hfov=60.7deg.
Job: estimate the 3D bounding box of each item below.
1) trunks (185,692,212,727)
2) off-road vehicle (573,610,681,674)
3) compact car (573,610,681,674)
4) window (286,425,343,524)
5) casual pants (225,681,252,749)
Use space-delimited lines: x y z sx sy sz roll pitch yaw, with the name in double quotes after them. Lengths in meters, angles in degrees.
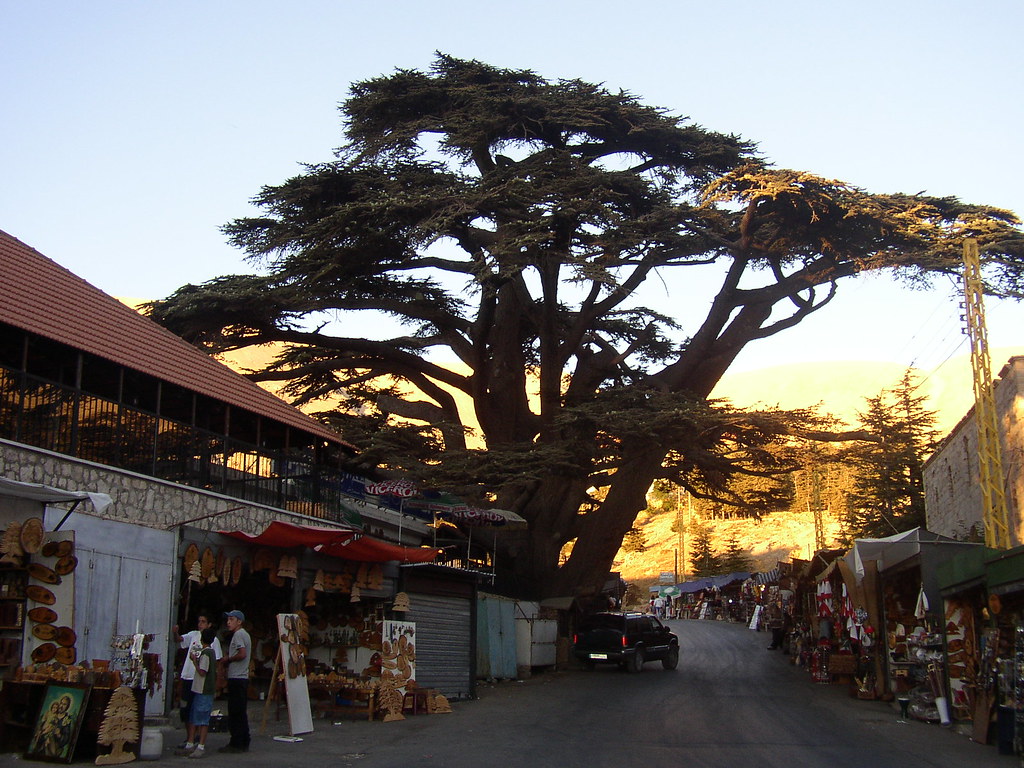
-4.309 4.479 12.011 0.235 0.453 0.270 8 -20 -26 "trunks"
4.002 8.473 29.227 1.904 1.298 3.430 -6 -8 41 "off-road vehicle"
3.997 8.453 29.191 1.904 1.297 3.430 -6 -8 41 "compact car"
-4.818 2.200 20.912 1.477 2.134 2.505 -2 -8 -1 "window"
-3.941 4.725 12.507 0.337 0.977 0.497 4 -19 -16 "casual pants"
